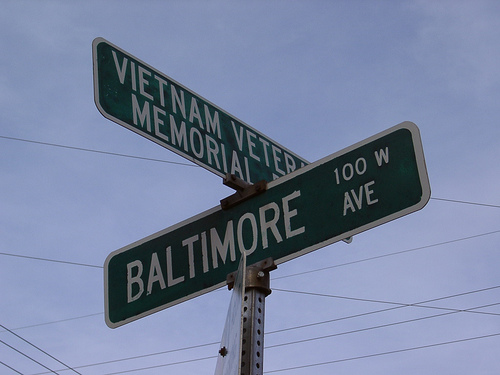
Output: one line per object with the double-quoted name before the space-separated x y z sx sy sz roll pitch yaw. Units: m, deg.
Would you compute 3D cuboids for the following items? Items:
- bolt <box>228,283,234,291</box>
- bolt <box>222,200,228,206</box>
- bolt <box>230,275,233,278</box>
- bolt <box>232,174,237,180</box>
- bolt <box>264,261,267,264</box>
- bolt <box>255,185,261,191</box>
"bolt" -0.120 0.607 4.091 0.035 0.040 0.009 -1 0 43
"bolt" -0.163 0.099 4.366 0.024 0.026 0.006 -16 -28 20
"bolt" -0.114 0.539 4.075 0.015 0.018 0.004 -3 -5 7
"bolt" -0.103 -0.075 4.379 0.033 0.032 0.052 -11 9 5
"bolt" 0.093 0.444 3.979 0.014 0.015 0.003 -16 -19 35
"bolt" 0.049 -0.004 4.285 0.027 0.020 0.030 4 -29 -12
